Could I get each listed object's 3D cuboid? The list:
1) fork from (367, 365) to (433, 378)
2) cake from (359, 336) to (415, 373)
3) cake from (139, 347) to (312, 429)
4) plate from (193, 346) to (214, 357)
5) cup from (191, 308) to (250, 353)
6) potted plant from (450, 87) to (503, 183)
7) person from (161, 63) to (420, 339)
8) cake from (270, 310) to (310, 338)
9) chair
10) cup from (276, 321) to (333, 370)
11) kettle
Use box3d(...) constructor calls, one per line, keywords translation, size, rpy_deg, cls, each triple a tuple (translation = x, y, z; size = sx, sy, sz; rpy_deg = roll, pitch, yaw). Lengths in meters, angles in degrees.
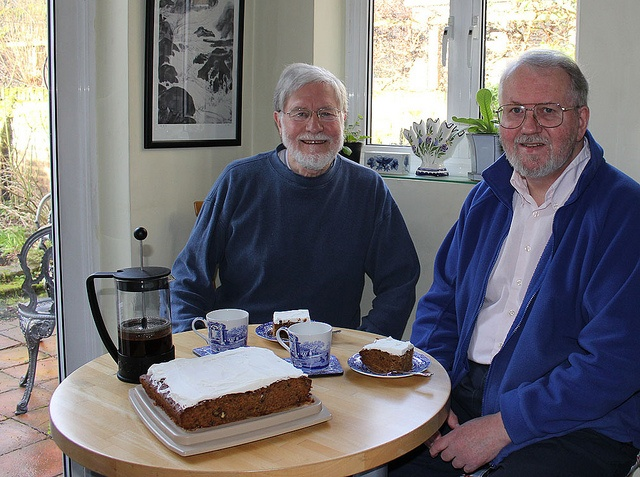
box3d(translation=(0.206, 0.355, 1.348), size=(0.192, 0.024, 0.029), rpy_deg=(-1, 12, -4), cls="fork")
box3d(translation=(0.187, 0.325, 1.393), size=(0.117, 0.068, 0.121), rpy_deg=(4, -4, 39), cls="cake")
box3d(translation=(-0.211, 0.284, 1.113), size=(0.223, 0.065, 0.184), rpy_deg=(-6, 13, -30), cls="cake")
box3d(translation=(-0.333, 0.322, 1.442), size=(0.041, 0.009, 0.041), rpy_deg=(-2, 12, -28), cls="plate")
box3d(translation=(-0.299, 0.273, 1.459), size=(0.141, 0.104, 0.090), rpy_deg=(1, 1, -14), cls="cup")
box3d(translation=(0.761, -0.488, 2.348), size=(0.269, 0.406, 0.226), rpy_deg=(5, 14, 6), cls="potted plant")
box3d(translation=(-0.091, -0.103, 2.087), size=(1.069, 1.172, 0.722), rpy_deg=(3, 15, -2), cls="person")
box3d(translation=(-0.086, 0.252, 1.527), size=(0.112, 0.074, 0.079), rpy_deg=(-8, -5, -5), cls="cake")
box3d(translation=(-1.438, 0.413, 2.539), size=(0.256, 0.970, 0.159), rpy_deg=(4, 8, 27), cls="chair")
box3d(translation=(-0.042, 0.296, 1.396), size=(0.146, 0.113, 0.122), rpy_deg=(-1, 11, -4), cls="cup")
box3d(translation=(-0.500, 0.172, 1.340), size=(0.208, 0.387, 0.153), rpy_deg=(-1, 9, -13), cls="kettle")
